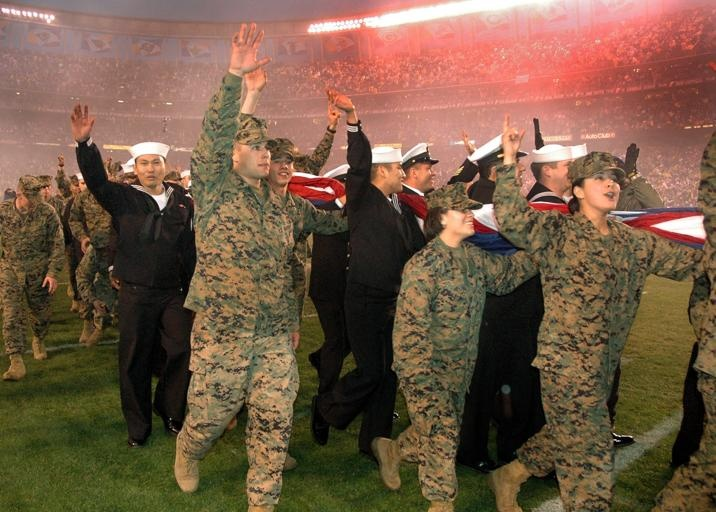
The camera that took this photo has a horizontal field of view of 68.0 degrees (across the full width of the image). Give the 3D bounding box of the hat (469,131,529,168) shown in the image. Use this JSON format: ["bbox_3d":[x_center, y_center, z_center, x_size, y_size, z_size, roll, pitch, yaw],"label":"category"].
[{"bbox_3d":[1.448,-1.025,5.529,0.519,0.208,0.434,-18,16,15],"label":"hat"}]

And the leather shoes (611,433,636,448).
[{"bbox_3d":[2.485,1.719,4.962,0.186,0.074,0.276,5,10,25],"label":"leather shoes"}]

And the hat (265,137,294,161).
[{"bbox_3d":[-0.644,-0.951,4.665,0.187,0.125,0.275,-8,31,-29],"label":"hat"}]

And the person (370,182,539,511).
[{"bbox_3d":[0.676,0.629,3.985,0.550,2.282,0.851,8,12,39],"label":"person"}]

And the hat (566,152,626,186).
[{"bbox_3d":[1.670,-0.579,3.699,0.239,0.150,0.308,1,-13,-15],"label":"hat"}]

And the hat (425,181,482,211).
[{"bbox_3d":[0.717,-0.438,3.950,0.311,0.126,0.224,3,4,21],"label":"hat"}]

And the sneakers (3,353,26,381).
[{"bbox_3d":[-4.202,1.362,6.464,0.296,0.263,0.283,0,9,0],"label":"sneakers"}]

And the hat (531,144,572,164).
[{"bbox_3d":[1.826,-0.944,5.060,0.217,0.103,0.273,-12,10,-42],"label":"hat"}]

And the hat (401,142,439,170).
[{"bbox_3d":[0.626,-1.017,5.518,0.369,0.163,0.297,-6,3,25],"label":"hat"}]

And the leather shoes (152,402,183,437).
[{"bbox_3d":[-1.835,1.596,5.150,0.385,0.168,0.140,40,26,1],"label":"leather shoes"}]

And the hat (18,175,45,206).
[{"bbox_3d":[-4.311,-0.840,7.001,0.287,0.389,0.437,-5,11,-30],"label":"hat"}]

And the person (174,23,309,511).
[{"bbox_3d":[-0.822,0.140,3.995,0.889,3.578,0.787,5,11,30],"label":"person"}]

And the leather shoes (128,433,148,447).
[{"bbox_3d":[-2.048,1.724,4.939,0.176,0.087,0.137,-4,10,-24],"label":"leather shoes"}]

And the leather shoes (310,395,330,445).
[{"bbox_3d":[-0.377,1.583,5.082,0.167,0.440,0.186,-10,12,-31],"label":"leather shoes"}]
